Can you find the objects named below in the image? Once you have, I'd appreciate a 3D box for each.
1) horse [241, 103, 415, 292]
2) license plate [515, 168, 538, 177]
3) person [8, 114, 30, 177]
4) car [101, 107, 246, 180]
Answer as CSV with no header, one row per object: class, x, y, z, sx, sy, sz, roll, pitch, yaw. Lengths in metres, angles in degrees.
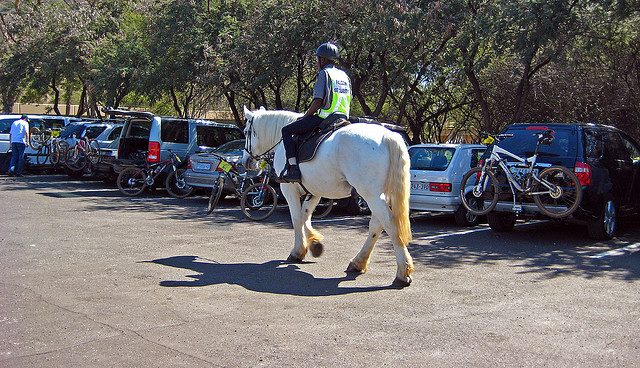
horse,0.023,0.104,12.131,5.560,3.805,1.517,5,5,45
license plate,5.510,-0.338,13.849,0.557,0.163,0.129,9,15,32
person,-13.971,-1.848,24.171,1.101,3.110,1.125,0,0,-26
car,-5.306,-1.888,21.510,5.566,2.354,3.165,-7,7,-37
